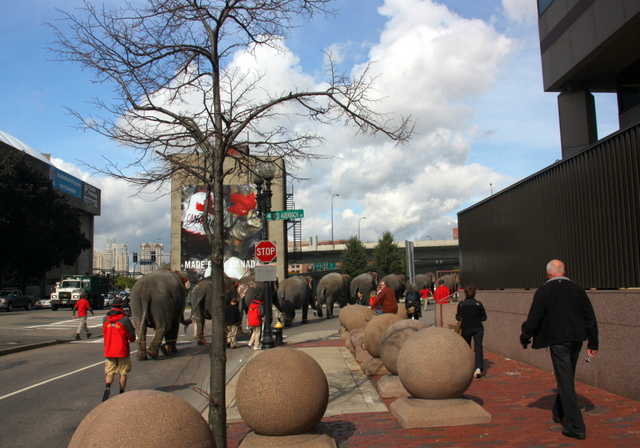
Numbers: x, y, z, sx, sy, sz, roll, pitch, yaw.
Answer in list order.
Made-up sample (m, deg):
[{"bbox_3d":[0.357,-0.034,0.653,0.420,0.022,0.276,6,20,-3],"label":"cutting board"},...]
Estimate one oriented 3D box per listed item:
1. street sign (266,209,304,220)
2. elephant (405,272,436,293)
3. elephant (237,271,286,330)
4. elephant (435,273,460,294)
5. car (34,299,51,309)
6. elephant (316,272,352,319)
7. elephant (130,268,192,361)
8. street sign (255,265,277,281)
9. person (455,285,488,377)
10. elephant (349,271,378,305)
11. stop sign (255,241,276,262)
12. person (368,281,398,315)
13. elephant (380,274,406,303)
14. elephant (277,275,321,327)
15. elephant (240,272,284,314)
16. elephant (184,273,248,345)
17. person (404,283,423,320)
[{"bbox_3d":[-1.265,-0.354,17.178,1.248,0.477,1.337,0,-8,-10],"label":"street sign"},{"bbox_3d":[9.788,5.416,45.970,1.421,1.787,4.422,-2,-8,7],"label":"elephant"},{"bbox_3d":[-2.956,3.728,23.842,1.757,2.988,4.290,-1,-2,25],"label":"elephant"},{"bbox_3d":[10.541,4.772,39.655,1.755,1.469,1.111,2,-8,-27],"label":"elephant"},{"bbox_3d":[-29.437,8.167,51.948,1.370,1.079,3.060,2,-12,-27],"label":"car"},{"bbox_3d":[1.074,4.519,31.771,1.517,2.733,4.451,3,-2,24],"label":"elephant"},{"bbox_3d":[-5.621,3.163,17.701,1.572,3.248,4.939,1,-5,-3],"label":"elephant"},{"bbox_3d":[-1.752,1.579,15.714,0.752,0.591,0.429,0,-4,3],"label":"street sign"},{"bbox_3d":[3.650,2.543,11.745,0.652,2.080,1.033,-3,-7,19],"label":"person"},{"bbox_3d":[2.988,4.444,34.309,1.805,2.034,2.684,-2,-7,3],"label":"elephant"},{"bbox_3d":[-1.818,0.906,16.242,0.641,0.660,0.441,-1,-7,-3],"label":"stop sign"},{"bbox_3d":[2.107,2.303,15.492,0.612,0.986,1.023,0,-7,-13],"label":"person"},{"bbox_3d":[6.150,4.851,38.319,2.550,1.581,1.019,-6,-3,-40],"label":"elephant"},{"bbox_3d":[-1.256,4.294,27.574,1.227,2.684,4.032,-3,-7,14],"label":"elephant"},{"bbox_3d":[-2.983,3.332,23.437,1.559,2.213,3.612,-1,-2,2],"label":"elephant"},{"bbox_3d":[-3.723,3.567,20.520,1.835,2.714,4.495,-12,-13,20],"label":"elephant"},{"bbox_3d":[3.743,3.331,19.923,0.551,1.700,0.574,3,-28,5],"label":"person"}]
